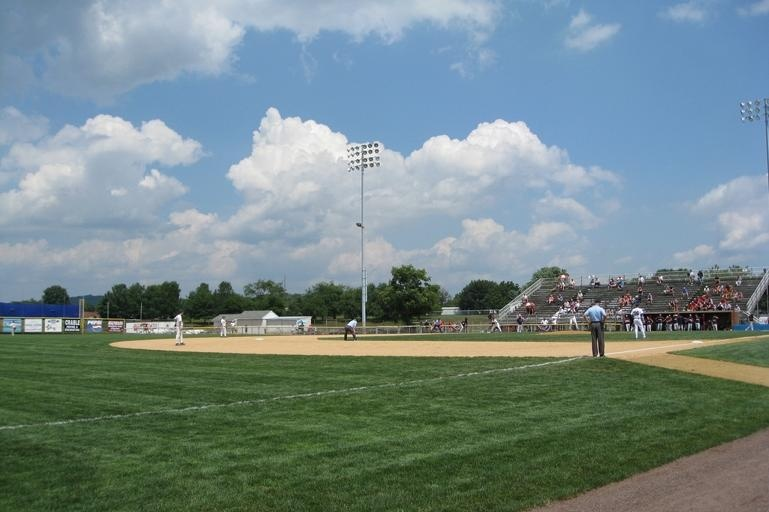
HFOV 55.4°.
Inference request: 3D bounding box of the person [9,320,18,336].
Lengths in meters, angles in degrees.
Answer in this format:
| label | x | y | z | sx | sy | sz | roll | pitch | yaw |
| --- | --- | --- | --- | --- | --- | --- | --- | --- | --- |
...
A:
| label | x | y | z | sx | sy | sz | roll | pitch | yaw |
| --- | --- | --- | --- | --- | --- | --- | --- | --- | --- |
| person | -28.016 | 5.245 | 55.183 | 0.421 | 0.913 | 1.203 | -1 | -1 | -28 |
